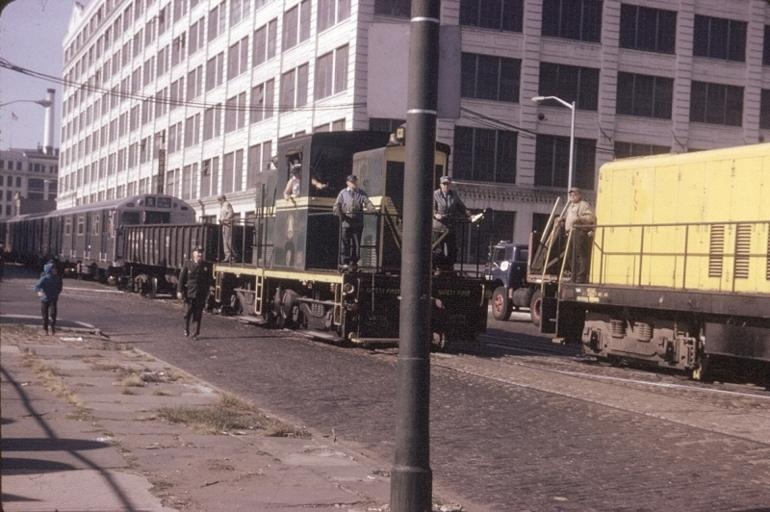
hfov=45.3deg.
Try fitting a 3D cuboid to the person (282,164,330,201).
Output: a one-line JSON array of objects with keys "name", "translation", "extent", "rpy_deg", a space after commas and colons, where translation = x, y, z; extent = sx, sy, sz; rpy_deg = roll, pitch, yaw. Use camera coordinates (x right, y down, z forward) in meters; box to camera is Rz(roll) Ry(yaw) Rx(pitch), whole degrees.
[{"name": "person", "translation": [-2.192, -1.974, 24.843], "extent": [0.538, 0.983, 1.725], "rpy_deg": [-3, 7, -35]}]

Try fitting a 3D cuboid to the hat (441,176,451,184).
[{"name": "hat", "translation": [1.478, -1.916, 23.132], "extent": [0.170, 0.109, 0.245], "rpy_deg": [0, -3, -4]}]

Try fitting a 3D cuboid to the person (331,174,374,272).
[{"name": "person", "translation": [-0.851, -0.862, 23.153], "extent": [1.017, 2.277, 0.863], "rpy_deg": [-1, 6, -18]}]

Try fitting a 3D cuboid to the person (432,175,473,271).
[{"name": "person", "translation": [1.655, -0.849, 23.546], "extent": [0.834, 2.351, 1.029], "rpy_deg": [2, 6, 4]}]
